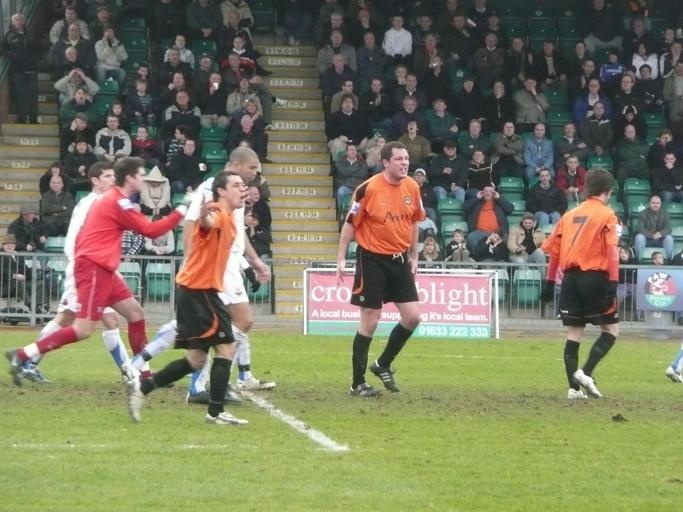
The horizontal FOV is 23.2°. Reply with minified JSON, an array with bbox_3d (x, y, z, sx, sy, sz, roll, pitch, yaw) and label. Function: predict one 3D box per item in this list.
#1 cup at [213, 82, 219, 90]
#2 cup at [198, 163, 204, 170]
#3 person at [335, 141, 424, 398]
[{"bbox_3d":[-2.790,-3.822,37.441,0.186,0.171,0.101,0,26,-4],"label":"cup"},{"bbox_3d":[-2.996,-1.931,35.906,0.103,0.135,0.049,-7,3,-25],"label":"cup"},{"bbox_3d":[0.659,0.198,26.548,1.273,4.006,0.536,0,-1,2],"label":"person"}]
